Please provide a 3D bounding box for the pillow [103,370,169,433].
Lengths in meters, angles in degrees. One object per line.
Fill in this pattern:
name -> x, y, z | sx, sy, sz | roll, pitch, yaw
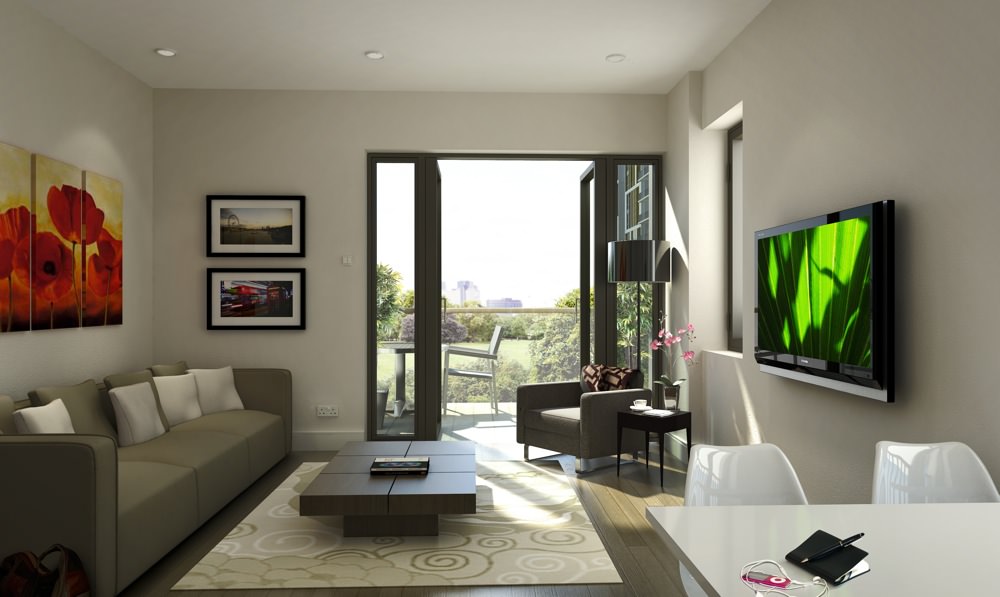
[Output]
pillow -> -3.105, 0.835, 5.714 | 0.200, 0.486, 0.504 | -28, -13, 32

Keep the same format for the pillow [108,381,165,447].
pillow -> -3.064, 0.984, 5.688 | 0.314, 0.507, 0.586 | 11, 4, 2

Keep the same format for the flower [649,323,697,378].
flower -> 1.777, 0.480, 6.761 | 0.240, 0.434, 0.474 | 17, -13, -8

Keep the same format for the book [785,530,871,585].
book -> 1.605, 1.231, 3.217 | 0.389, 0.111, 0.341 | -5, 6, -8

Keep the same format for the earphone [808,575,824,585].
earphone -> 1.469, 1.312, 3.111 | 0.048, 0.025, 0.032 | 3, 11, 15

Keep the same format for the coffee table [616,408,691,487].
coffee table -> 1.442, 1.324, 6.442 | 0.674, 0.829, 0.799 | -1, -3, 7

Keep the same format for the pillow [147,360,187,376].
pillow -> -3.122, 0.674, 6.347 | 0.218, 0.073, 0.211 | 2, 4, -4

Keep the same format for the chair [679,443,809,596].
chair -> 1.335, 1.314, 4.150 | 0.860, 1.101, 0.840 | 0, -12, 2

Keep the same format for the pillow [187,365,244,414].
pillow -> -2.711, 0.872, 6.431 | 0.136, 0.405, 0.453 | -27, -10, 38

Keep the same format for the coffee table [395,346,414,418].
coffee table -> -1.016, 0.871, 7.123 | 0.202, 0.779, 0.132 | -2, 11, -8

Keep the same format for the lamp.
lamp -> 1.426, 0.084, 6.970 | 0.653, 1.384, 0.468 | -8, 14, -37

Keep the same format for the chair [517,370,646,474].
chair -> 0.860, 1.235, 6.754 | 1.240, 0.721, 1.222 | 1, -1, -23

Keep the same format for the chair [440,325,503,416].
chair -> -0.340, 0.783, 8.118 | 0.790, 1.026, 0.712 | 1, -3, -5
